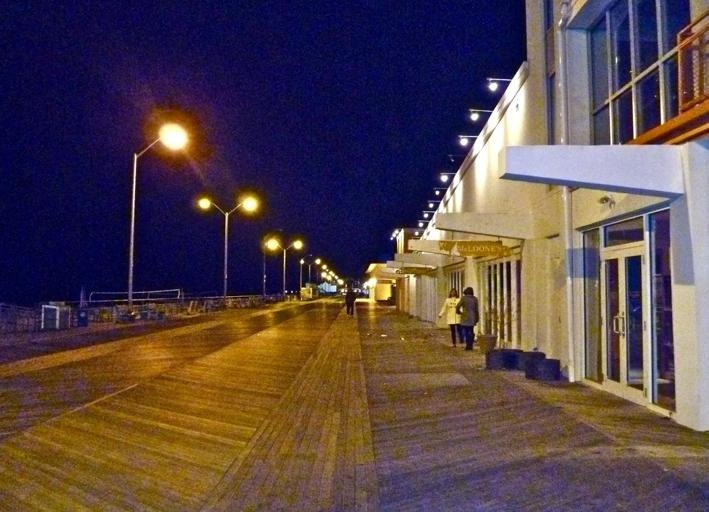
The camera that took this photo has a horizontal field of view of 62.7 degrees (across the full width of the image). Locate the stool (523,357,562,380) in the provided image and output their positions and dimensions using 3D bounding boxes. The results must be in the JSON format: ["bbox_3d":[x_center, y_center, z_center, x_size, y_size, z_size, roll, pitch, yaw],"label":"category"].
[{"bbox_3d":[4.008,2.376,12.291,0.451,0.358,0.500,-1,-4,12],"label":"stool"}]

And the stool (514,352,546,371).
[{"bbox_3d":[3.928,2.314,13.087,0.572,0.453,0.434,2,-4,-30],"label":"stool"}]

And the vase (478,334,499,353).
[{"bbox_3d":[3.590,2.354,15.673,0.462,0.413,0.501,4,-11,-15],"label":"vase"}]
